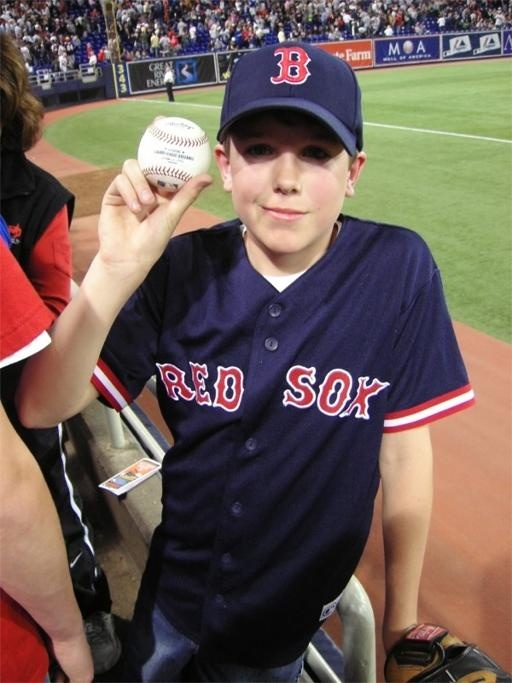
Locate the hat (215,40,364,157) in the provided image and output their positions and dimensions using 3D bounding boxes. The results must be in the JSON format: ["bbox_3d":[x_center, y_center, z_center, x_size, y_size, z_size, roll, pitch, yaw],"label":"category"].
[{"bbox_3d":[0.084,-0.425,1.047,0.261,0.217,0.267,10,27,22],"label":"hat"}]

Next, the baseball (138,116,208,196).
[{"bbox_3d":[-0.148,-0.389,1.216,0.238,0.160,0.181,-5,18,-7],"label":"baseball"}]
